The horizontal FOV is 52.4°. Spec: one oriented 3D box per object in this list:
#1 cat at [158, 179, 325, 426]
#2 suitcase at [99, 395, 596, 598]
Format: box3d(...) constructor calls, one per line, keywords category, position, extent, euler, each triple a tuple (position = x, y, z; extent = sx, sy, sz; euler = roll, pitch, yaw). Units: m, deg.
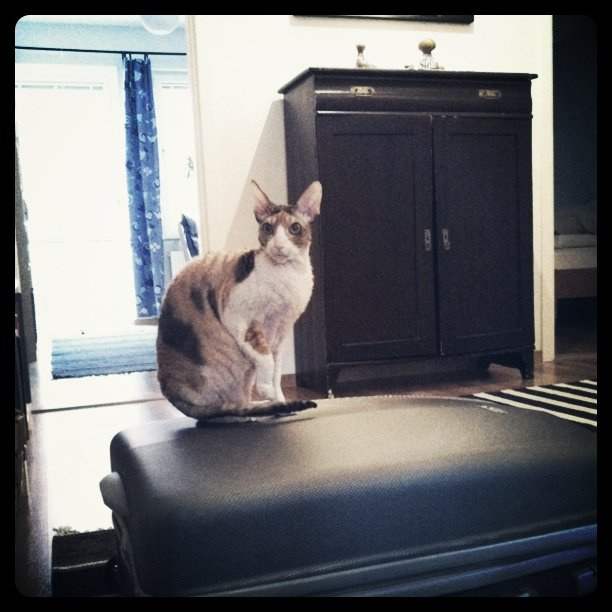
box3d(category="cat", position=(-0.154, -0.024, 1.407), extent=(0.299, 0.543, 0.242), euler=(2, 11, -4))
box3d(category="suitcase", position=(0.100, 0.368, 1.176), extent=(0.951, 0.278, 0.419), euler=(-4, 8, -15))
